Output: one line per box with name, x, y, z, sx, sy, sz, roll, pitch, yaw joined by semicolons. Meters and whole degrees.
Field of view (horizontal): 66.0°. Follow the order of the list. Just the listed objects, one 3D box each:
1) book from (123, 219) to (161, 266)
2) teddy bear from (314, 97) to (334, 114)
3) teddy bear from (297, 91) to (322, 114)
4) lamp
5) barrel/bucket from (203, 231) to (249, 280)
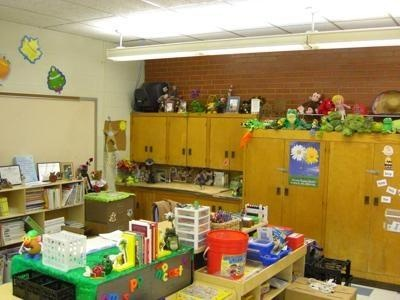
book;-0.556;0.786;2.836;0.360;0.381;0.285;3;5;41
teddy bear;2.388;-0.847;5.870;0.246;0.274;0.292;18;25;41
teddy bear;2.165;-0.934;6.046;0.354;0.437;0.239;23;0;-13
lamp;0.673;-1.572;4.652;4.080;0.257;0.301;2;6;20
barrel/bucket;0.244;1.000;3.117;0.421;0.372;0.385;1;2;0
